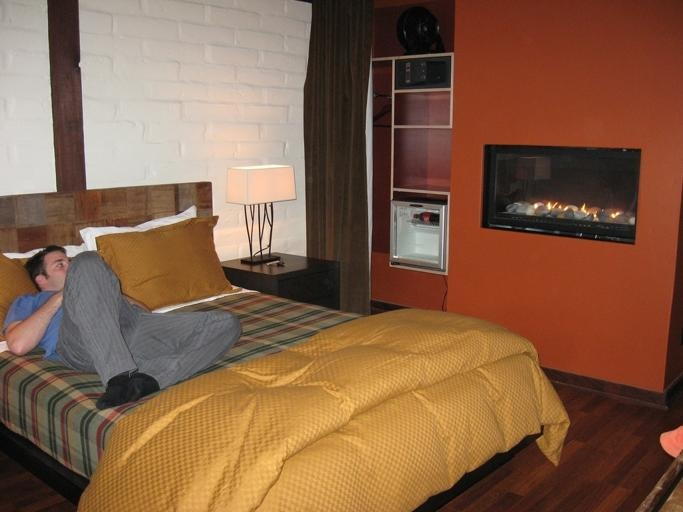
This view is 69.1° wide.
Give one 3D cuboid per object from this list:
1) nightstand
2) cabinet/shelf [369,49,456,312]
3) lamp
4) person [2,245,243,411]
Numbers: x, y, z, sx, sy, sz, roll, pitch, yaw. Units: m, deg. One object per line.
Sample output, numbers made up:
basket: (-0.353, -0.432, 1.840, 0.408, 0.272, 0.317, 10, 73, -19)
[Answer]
nightstand: (-0.457, 0.090, 3.989, 0.523, 0.557, 0.617, 14, 21, 39)
cabinet/shelf: (0.734, -0.754, 4.433, 0.585, 1.859, 0.198, 9, 23, 27)
lamp: (-0.704, -0.343, 4.130, 0.727, 1.001, 0.342, -17, 29, -40)
person: (-1.152, 0.310, 2.456, 1.017, 0.468, 0.679, 4, 13, 39)
